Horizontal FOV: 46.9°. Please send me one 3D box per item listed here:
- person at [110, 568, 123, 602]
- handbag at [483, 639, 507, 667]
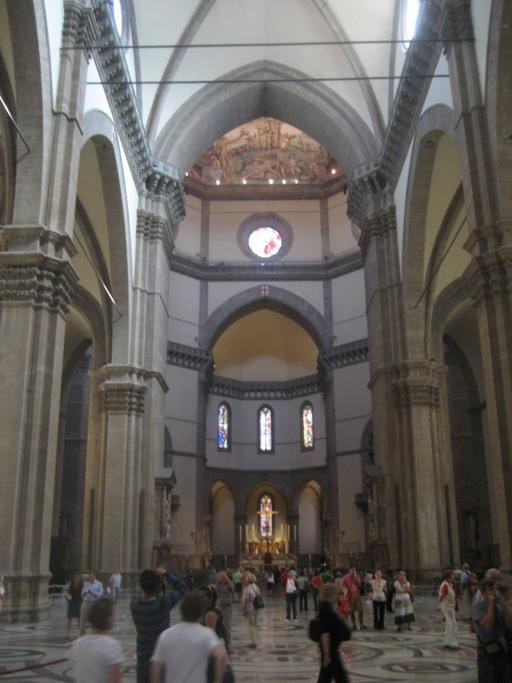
[{"bbox_3d":[-3.284,5.778,13.973,0.319,0.611,1.030,3,-22,-14],"label":"person"},{"bbox_3d":[1.543,2.013,3.761,0.089,0.146,0.062,-13,-48,9],"label":"handbag"}]
